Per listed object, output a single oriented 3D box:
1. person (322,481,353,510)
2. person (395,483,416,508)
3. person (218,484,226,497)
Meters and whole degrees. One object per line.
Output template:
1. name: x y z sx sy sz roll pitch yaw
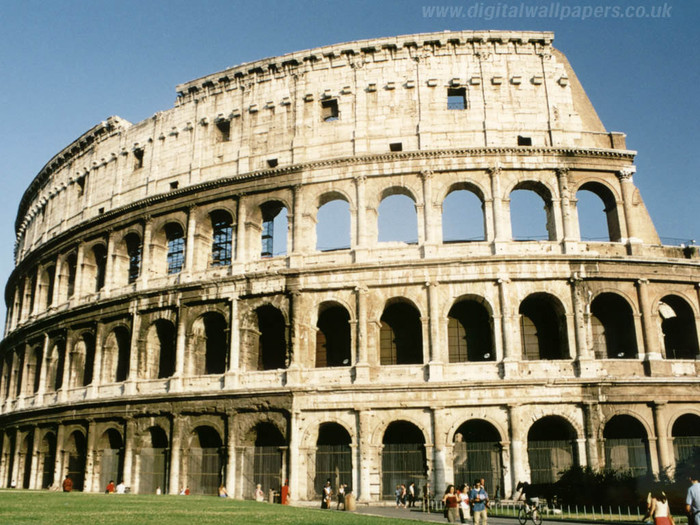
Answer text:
1. person: -0.503 10.616 32.649 1.562 1.685 0.906 -4 -17 11
2. person: 2.659 10.833 33.868 0.872 1.254 0.984 -2 -26 3
3. person: -6.267 11.249 35.821 0.387 0.661 1.148 5 -27 -9
